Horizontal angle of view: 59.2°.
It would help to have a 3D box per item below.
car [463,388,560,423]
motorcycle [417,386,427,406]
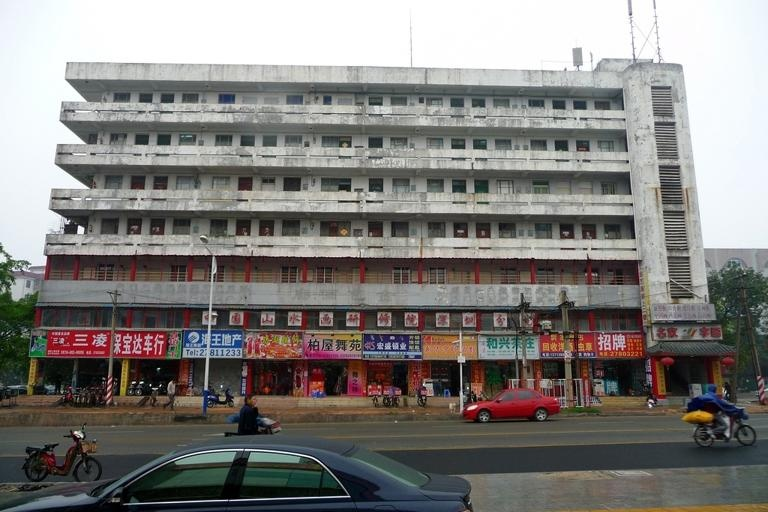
[{"bbox_3d":[8.670,9.916,45.084,5.650,1.900,2.511,0,-16,2],"label":"car"},{"bbox_3d":[3.323,11.912,57.349,0.847,1.740,2.226,-3,-15,3],"label":"motorcycle"}]
